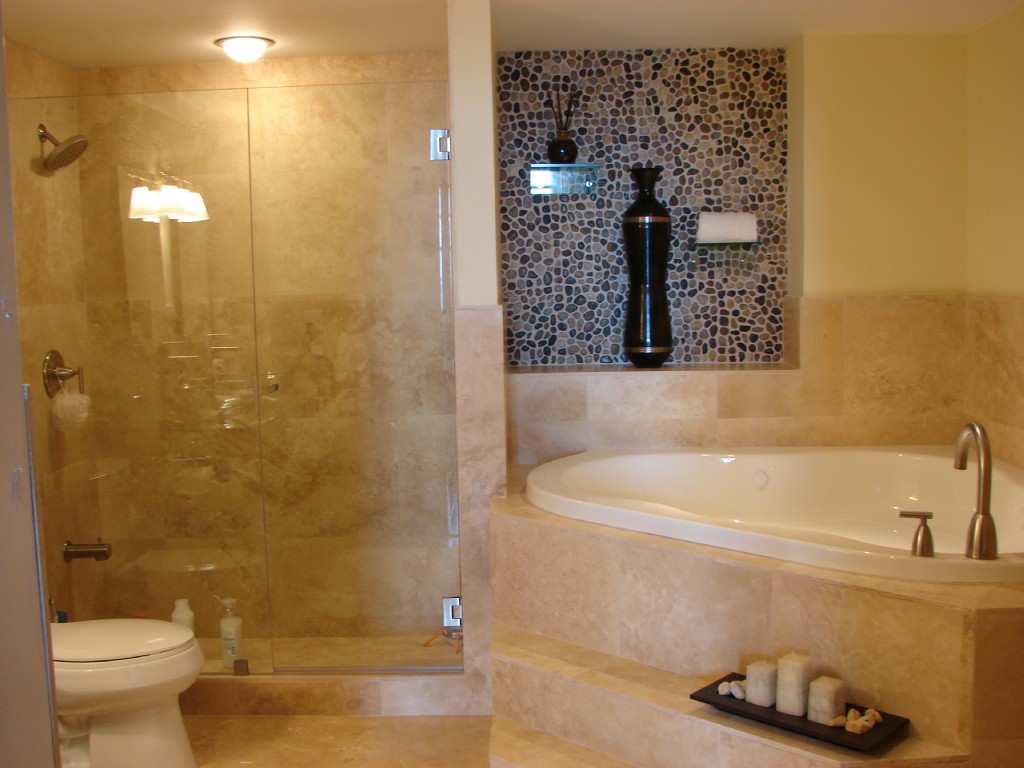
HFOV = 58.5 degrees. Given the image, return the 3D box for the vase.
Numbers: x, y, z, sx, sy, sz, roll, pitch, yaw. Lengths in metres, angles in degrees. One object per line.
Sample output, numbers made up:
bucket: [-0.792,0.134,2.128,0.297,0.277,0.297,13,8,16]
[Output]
vase: [0.635,-0.549,4.339,0.236,0.943,0.142,-2,5,8]

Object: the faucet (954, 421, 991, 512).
faucet: [1.464,0.266,2.907,0.096,0.301,0.254,-1,6,26]

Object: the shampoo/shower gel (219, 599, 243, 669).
shampoo/shower gel: [-1.143,1.015,3.722,0.095,0.280,0.054,-4,5,-7]
